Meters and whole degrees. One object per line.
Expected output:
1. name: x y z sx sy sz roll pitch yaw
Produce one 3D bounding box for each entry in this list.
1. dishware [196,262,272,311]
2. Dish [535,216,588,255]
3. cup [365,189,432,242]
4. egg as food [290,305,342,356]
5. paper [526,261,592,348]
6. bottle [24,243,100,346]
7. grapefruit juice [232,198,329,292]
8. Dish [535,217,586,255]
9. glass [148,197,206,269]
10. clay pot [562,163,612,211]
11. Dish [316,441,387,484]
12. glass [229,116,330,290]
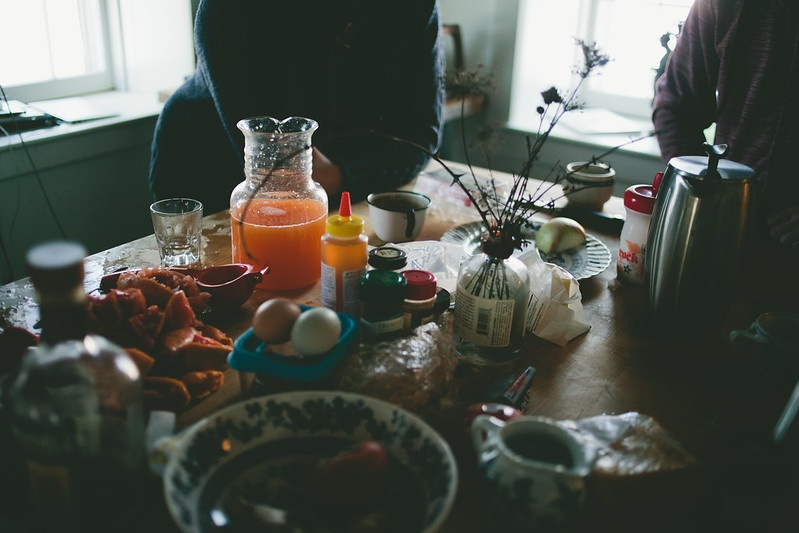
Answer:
1. dishware: -0.341 0.034 1.188 0.125 0.048 0.089 7 33 11
2. Dish: 0.385 -0.094 1.471 0.114 0.070 0.113 -13 26 -7
3. cup: 0.005 -0.104 1.471 0.145 0.092 0.211 -1 5 -19
4. egg as food: -0.134 0.104 0.962 0.047 0.046 0.056 42 34 -14
5. paper: 0.308 0.067 1.231 0.114 0.142 0.136 -7 26 -12
6. bottle: -0.460 0.030 0.827 0.070 0.151 0.114 -12 33 -30
7. grapefruit juice: -0.256 -0.055 1.371 0.206 0.181 0.202 1 15 -3
8. Dish: 0.378 -0.070 1.457 0.096 0.059 0.097 -17 11 29
9. glass: -0.510 -0.067 1.412 0.108 0.119 0.106 -2 6 -20
10. clay pot: 0.517 -0.223 1.652 0.149 0.114 0.155 -2 19 1
11. Dish: -0.065 0.289 0.887 0.085 0.037 0.050 -7 26 1
12. glass: -0.265 -0.139 1.343 0.210 0.348 0.212 23 31 34
